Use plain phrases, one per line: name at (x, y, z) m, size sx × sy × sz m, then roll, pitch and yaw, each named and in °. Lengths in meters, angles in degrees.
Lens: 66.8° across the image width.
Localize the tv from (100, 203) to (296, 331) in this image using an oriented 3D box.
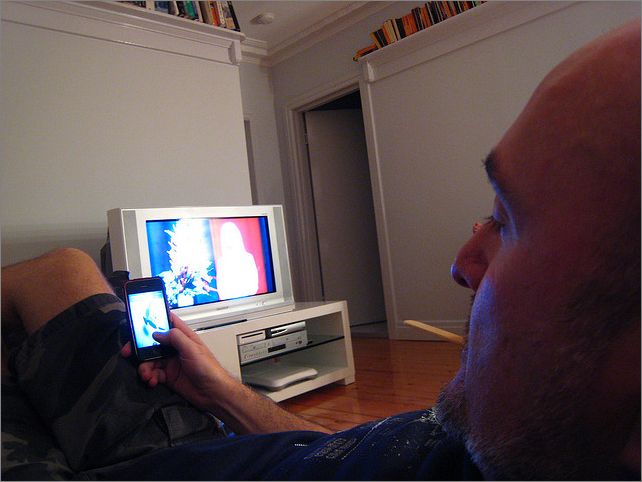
tv at (-0.543, 0.113, 2.139) m, size 0.792 × 0.406 × 0.103 m, roll 0°, pitch -14°, yaw -43°

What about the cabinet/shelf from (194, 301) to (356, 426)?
cabinet/shelf at (-0.320, 0.610, 2.584) m, size 0.523 × 0.416 × 0.945 m, roll -11°, pitch -7°, yaw 36°
